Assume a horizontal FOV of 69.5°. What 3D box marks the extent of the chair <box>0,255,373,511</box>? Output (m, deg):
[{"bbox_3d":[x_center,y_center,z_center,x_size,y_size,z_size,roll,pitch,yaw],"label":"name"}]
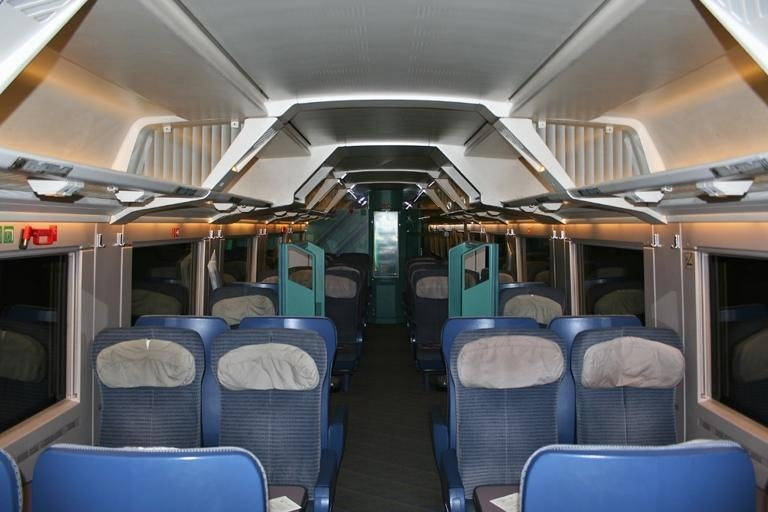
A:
[{"bbox_3d":[-1.326,1.361,5.289,2.120,1.500,1.259,2,7,13],"label":"chair"}]
